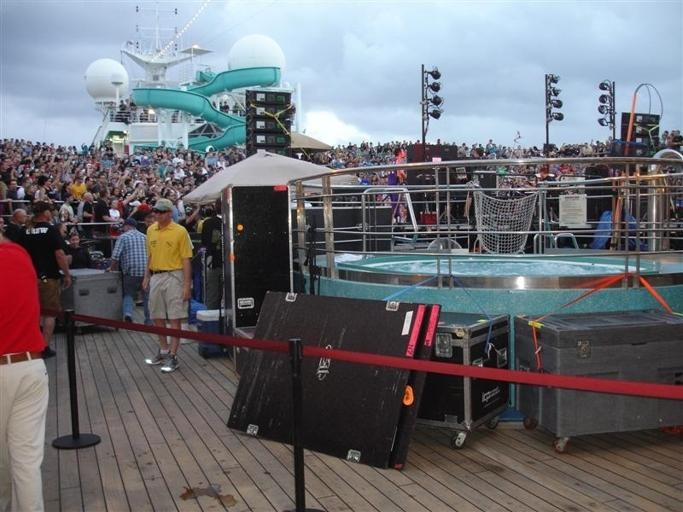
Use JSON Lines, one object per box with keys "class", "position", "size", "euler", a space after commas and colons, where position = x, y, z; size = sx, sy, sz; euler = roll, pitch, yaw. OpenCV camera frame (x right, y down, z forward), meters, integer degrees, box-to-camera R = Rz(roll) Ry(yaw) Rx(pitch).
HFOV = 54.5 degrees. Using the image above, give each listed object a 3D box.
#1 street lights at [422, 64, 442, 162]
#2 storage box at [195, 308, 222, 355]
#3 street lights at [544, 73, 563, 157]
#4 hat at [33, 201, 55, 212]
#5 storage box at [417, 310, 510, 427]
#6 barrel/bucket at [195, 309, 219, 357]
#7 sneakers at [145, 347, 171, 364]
{"class": "street lights", "position": [2.880, -4.702, 21.290], "size": [0.872, 2.846, 0.629], "euler": [3, 27, 16]}
{"class": "storage box", "position": [-1.802, 1.085, 9.375], "size": [0.493, 0.638, 0.618], "euler": [-3, 2, -21]}
{"class": "street lights", "position": [7.365, -4.816, 22.836], "size": [0.783, 3.039, 0.549], "euler": [-3, 46, 16]}
{"class": "hat", "position": [-3.939, -0.643, 8.670], "size": [0.145, 0.180, 0.188], "euler": [9, 1, -16]}
{"class": "storage box", "position": [1.156, 1.031, 6.140], "size": [0.494, 0.915, 0.880], "euler": [6, 11, 39]}
{"class": "barrel/bucket", "position": [-1.805, 1.105, 9.267], "size": [0.440, 0.565, 0.471], "euler": [2, -2, 0]}
{"class": "sneakers", "position": [-2.464, 1.303, 8.650], "size": [0.422, 0.193, 0.183], "euler": [0, 0, -6]}
